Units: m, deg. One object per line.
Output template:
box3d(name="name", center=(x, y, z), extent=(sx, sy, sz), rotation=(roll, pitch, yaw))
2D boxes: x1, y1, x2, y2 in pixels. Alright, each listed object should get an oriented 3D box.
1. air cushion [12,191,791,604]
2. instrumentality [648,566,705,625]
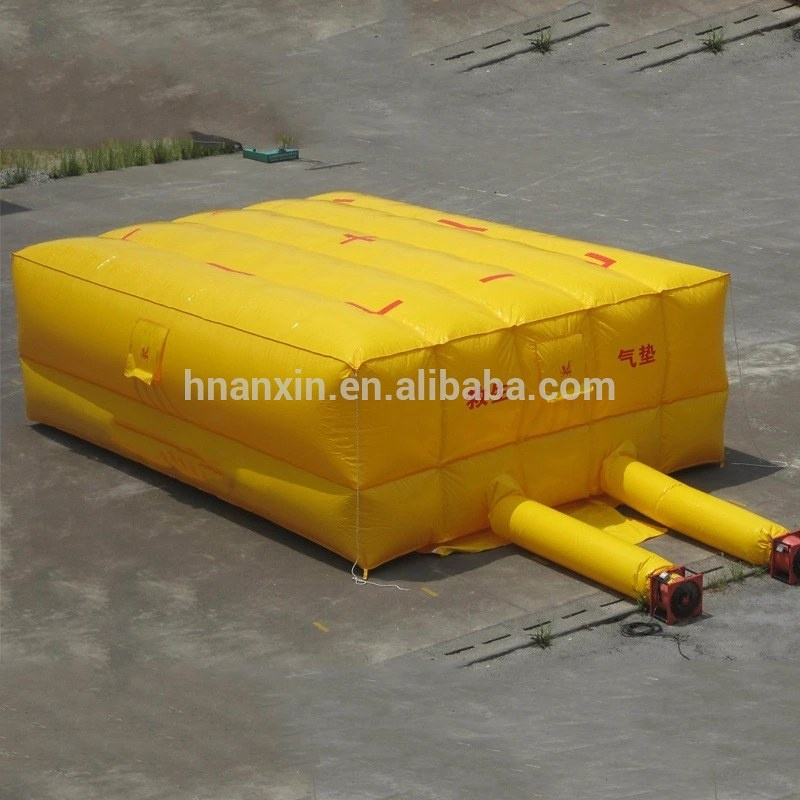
box3d(name="air cushion", center=(-0.555, -0.282, 10.130), extent=(3.963, 1.140, 5.951), rotation=(-15, 21, -43))
box3d(name="instrumentality", center=(1.992, 1.424, 8.447), extent=(0.337, 0.354, 0.394), rotation=(17, 29, 38))
